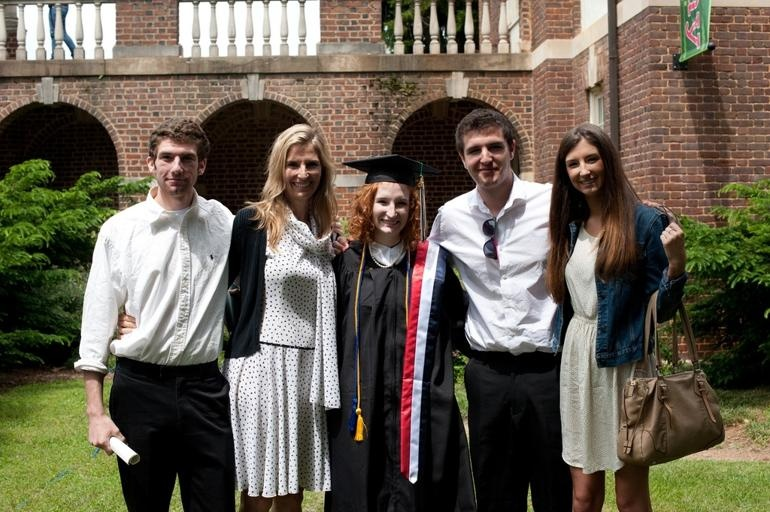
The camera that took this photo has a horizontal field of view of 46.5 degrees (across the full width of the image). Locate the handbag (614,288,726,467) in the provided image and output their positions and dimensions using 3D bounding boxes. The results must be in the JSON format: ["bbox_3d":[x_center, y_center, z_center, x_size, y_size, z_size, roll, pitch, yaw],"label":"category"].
[{"bbox_3d":[2.329,1.008,7.379,0.867,1.415,0.290,-1,1,-4],"label":"handbag"}]

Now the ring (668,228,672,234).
[{"bbox_3d":[2.320,-0.205,7.263,0.032,0.016,0.017,-30,-31,-2],"label":"ring"}]

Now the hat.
[{"bbox_3d":[0.045,-0.500,8.133,0.796,0.853,0.734,4,-8,-15],"label":"hat"}]
